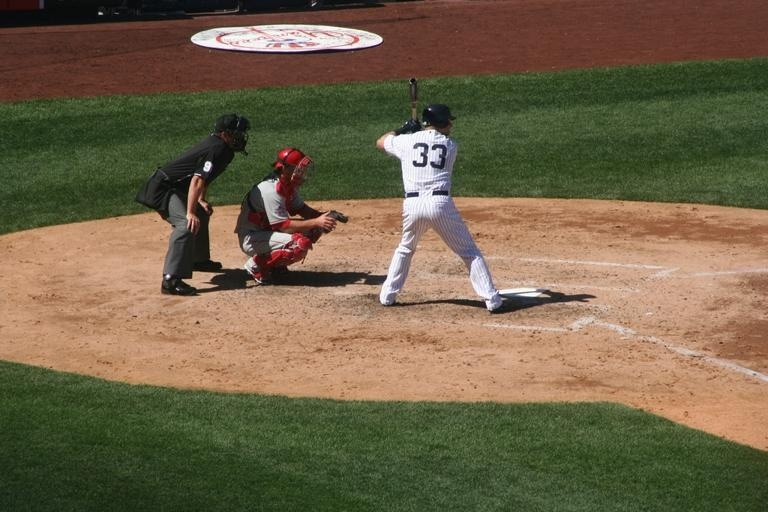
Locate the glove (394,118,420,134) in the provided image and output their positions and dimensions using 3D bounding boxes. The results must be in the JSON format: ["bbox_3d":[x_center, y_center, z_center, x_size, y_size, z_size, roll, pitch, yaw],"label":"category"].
[{"bbox_3d":[0.292,-1.584,12.658,0.362,0.117,0.187,-15,32,-19],"label":"glove"}]

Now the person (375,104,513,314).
[{"bbox_3d":[0.639,-0.588,12.376,1.508,2.452,1.113,-2,19,2],"label":"person"}]

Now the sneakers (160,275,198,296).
[{"bbox_3d":[-2.579,0.394,12.786,0.486,0.142,0.205,2,13,1],"label":"sneakers"}]

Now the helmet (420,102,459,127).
[{"bbox_3d":[0.701,-1.691,12.282,0.453,0.173,0.296,-13,27,-32],"label":"helmet"}]

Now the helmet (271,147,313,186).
[{"bbox_3d":[-1.123,-1.183,12.914,0.587,0.375,0.397,7,32,-2],"label":"helmet"}]
